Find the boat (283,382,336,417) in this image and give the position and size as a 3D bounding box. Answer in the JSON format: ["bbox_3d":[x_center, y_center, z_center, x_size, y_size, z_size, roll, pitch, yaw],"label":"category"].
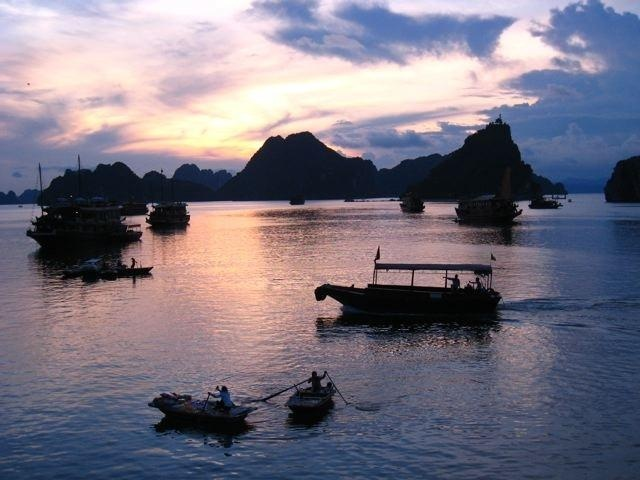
[{"bbox_3d":[-0.519,10.117,48.287,2.528,1.264,4.142,0,3,20],"label":"boat"}]
